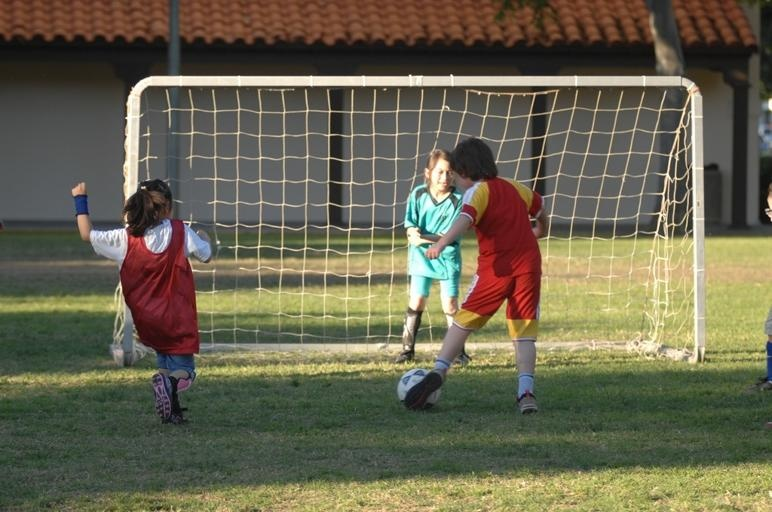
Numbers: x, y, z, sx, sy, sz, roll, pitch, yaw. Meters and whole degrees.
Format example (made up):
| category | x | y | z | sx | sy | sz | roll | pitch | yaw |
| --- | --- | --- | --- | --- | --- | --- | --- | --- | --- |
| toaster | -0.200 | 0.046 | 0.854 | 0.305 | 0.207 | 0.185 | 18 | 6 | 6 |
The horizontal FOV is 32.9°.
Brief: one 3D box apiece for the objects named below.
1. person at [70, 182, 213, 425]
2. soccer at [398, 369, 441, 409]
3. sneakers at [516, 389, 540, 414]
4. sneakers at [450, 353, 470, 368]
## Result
| category | x | y | z | sx | sy | sz | roll | pitch | yaw |
| --- | --- | --- | --- | --- | --- | --- | --- | --- | --- |
| person | -2.834 | 0.502 | 15.744 | 1.319 | 2.786 | 0.910 | 6 | 16 | 22 |
| soccer | 0.443 | 1.638 | 16.036 | 0.527 | 0.413 | 0.402 | -8 | -9 | 34 |
| sneakers | 1.719 | 1.766 | 15.824 | 0.249 | 0.271 | 0.614 | 0 | -7 | 0 |
| sneakers | 0.956 | 1.346 | 16.788 | 0.223 | 0.221 | 0.545 | 1 | -5 | 1 |
